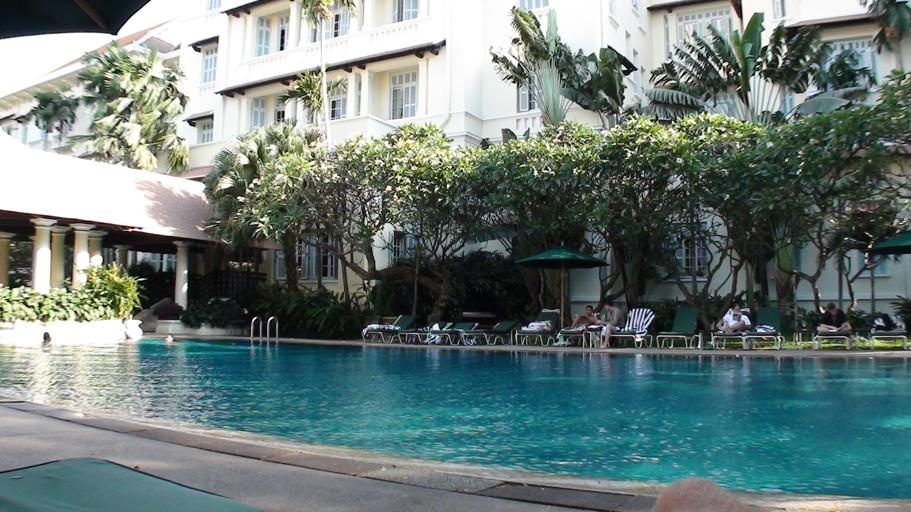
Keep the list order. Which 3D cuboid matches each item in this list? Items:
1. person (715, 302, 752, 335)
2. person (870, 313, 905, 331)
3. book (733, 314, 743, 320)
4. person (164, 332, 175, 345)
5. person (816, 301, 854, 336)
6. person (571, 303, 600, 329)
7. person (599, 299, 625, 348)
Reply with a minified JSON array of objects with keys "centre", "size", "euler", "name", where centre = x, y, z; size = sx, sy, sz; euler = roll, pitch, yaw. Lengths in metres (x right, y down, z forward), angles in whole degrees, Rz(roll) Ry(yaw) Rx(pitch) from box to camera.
[{"centre":[9.895,2.190,23.328],"size":[1.037,0.867,2.707],"euler":[3,6,24],"name":"person"},{"centre":[14.631,2.325,22.593],"size":[1.017,0.343,0.976],"euler":[4,0,-5],"name":"person"},{"centre":[9.836,2.133,22.912],"size":[0.234,0.206,0.392],"euler":[1,-1,14],"name":"book"},{"centre":[-11.794,3.423,27.033],"size":[0.361,0.321,0.837],"euler":[2,1,-21],"name":"person"},{"centre":[12.895,2.162,22.541],"size":[1.175,1.069,1.168],"euler":[-7,8,33],"name":"person"},{"centre":[4.829,2.248,24.427],"size":[0.912,0.775,1.244],"euler":[2,6,16],"name":"person"},{"centre":[5.723,2.608,24.066],"size":[0.790,1.513,1.888],"euler":[1,6,13],"name":"person"}]
